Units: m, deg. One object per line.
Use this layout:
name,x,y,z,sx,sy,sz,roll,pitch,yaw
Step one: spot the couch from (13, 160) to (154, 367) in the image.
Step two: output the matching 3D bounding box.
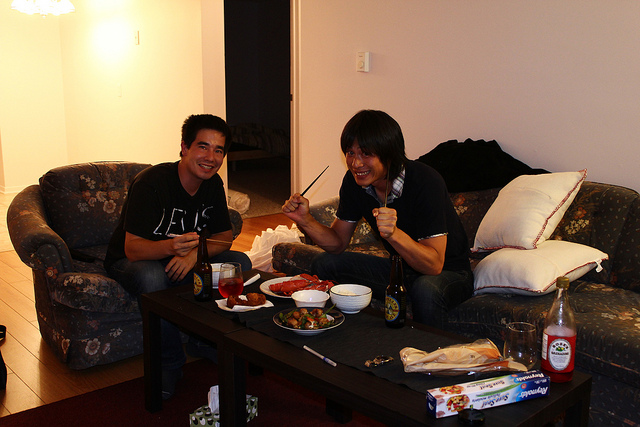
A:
couch,-1.360,0.256,2.994,1.103,0.999,1.068,9,14,-14

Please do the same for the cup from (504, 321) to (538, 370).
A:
cup,0.669,0.445,1.564,0.118,0.162,0.121,0,0,0

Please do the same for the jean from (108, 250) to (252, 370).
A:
jean,-0.768,0.383,2.500,0.462,0.900,0.444,-5,9,-37

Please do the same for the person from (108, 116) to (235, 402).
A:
person,-0.786,0.225,2.583,0.820,1.446,1.044,4,7,-15

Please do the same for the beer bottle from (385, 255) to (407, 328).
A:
beer bottle,0.304,0.309,1.840,0.088,0.294,0.088,-1,1,0

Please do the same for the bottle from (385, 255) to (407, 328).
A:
bottle,0.291,0.317,1.857,0.098,0.254,0.088,1,4,-10

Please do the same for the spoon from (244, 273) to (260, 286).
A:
spoon,-0.330,0.323,2.244,0.020,0.023,0.120,-21,5,42

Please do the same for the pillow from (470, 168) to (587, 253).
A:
pillow,1.185,-0.073,2.758,0.460,0.470,0.665,-4,12,-26

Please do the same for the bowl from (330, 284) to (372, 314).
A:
bowl,0.130,0.340,1.949,0.130,0.076,0.132,0,-1,0

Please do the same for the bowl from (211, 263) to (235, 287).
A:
bowl,-0.432,0.278,2.071,0.130,0.098,0.133,1,4,0

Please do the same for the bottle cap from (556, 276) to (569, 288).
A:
bottle cap,0.782,0.223,1.498,0.039,0.029,0.039,4,5,31

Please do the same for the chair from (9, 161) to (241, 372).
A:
chair,-1.278,0.284,3.023,1.456,1.086,1.167,-8,17,-37

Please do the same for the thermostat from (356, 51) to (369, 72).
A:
thermostat,0.364,-1.280,3.928,0.123,0.167,0.036,14,20,41
